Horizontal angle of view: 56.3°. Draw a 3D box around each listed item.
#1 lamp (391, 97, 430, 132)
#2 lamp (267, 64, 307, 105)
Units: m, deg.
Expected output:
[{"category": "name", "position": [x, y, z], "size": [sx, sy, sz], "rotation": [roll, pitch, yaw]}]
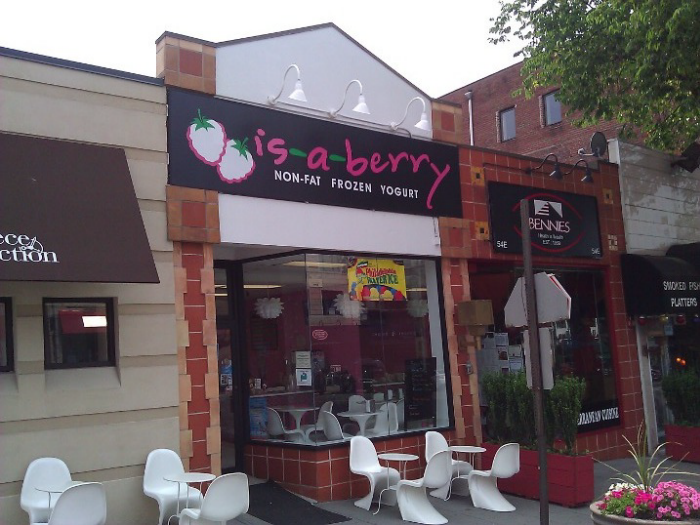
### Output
[{"category": "lamp", "position": [1.186, -2.865, 12.686], "size": [0.774, 0.710, 0.421], "rotation": [6, 31, 8]}, {"category": "lamp", "position": [-1.019, -3.026, 11.181], "size": [0.636, 0.663, 0.359], "rotation": [4, 6, 10]}]
